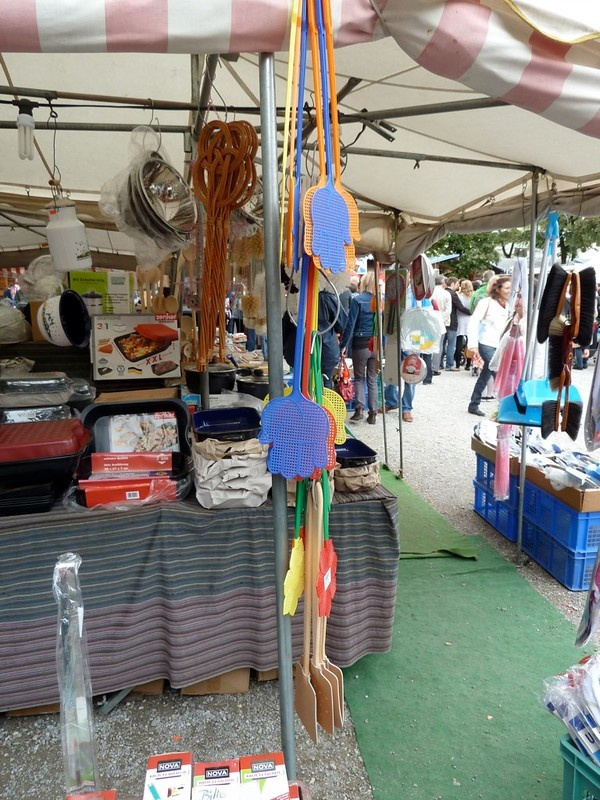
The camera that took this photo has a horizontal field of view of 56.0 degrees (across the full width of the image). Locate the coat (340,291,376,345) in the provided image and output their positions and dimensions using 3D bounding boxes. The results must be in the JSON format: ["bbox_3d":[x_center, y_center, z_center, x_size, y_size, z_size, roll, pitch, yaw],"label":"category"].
[{"bbox_3d":[0.712,-0.814,5.911,0.382,0.541,0.163,8,-8,26],"label":"coat"}]

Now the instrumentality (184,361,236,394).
[{"bbox_3d":[-0.447,-0.106,2.839,0.189,0.097,0.225,0,9,-5],"label":"instrumentality"}]

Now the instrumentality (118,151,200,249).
[{"bbox_3d":[-0.545,-0.764,2.196,0.139,0.380,0.316,-16,7,31],"label":"instrumentality"}]

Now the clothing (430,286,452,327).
[{"bbox_3d":[2.066,-1.373,8.264,0.197,0.610,0.952,4,11,21],"label":"clothing"}]

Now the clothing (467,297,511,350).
[{"bbox_3d":[1.919,-0.797,5.841,0.277,0.520,0.408,0,10,0],"label":"clothing"}]
